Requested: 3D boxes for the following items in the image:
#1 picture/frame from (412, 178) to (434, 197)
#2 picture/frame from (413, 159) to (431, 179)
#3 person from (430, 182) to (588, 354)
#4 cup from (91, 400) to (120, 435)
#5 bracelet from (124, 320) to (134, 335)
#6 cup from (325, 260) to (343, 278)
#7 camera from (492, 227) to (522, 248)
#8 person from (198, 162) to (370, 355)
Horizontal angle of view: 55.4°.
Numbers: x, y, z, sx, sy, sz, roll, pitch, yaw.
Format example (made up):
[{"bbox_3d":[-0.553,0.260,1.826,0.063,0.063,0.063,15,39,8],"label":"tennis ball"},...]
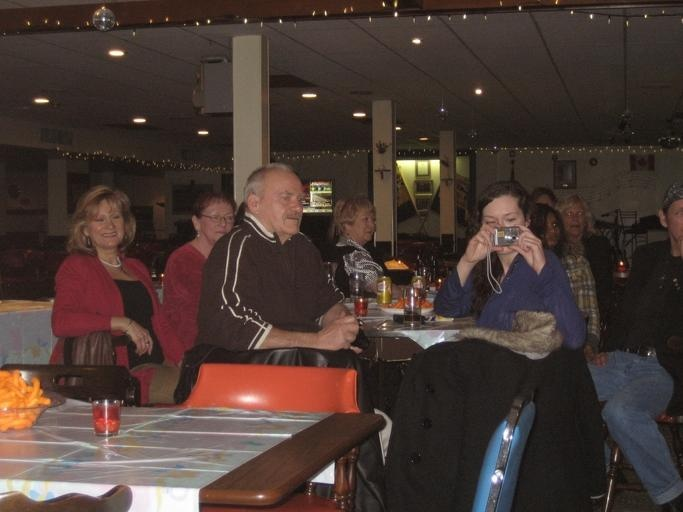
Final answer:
[{"bbox_3d":[2.104,-1.704,16.500,0.656,0.585,0.363,1,-1,4],"label":"picture/frame"},{"bbox_3d":[2.144,-2.241,16.527,0.502,0.522,0.384,6,12,15],"label":"picture/frame"},{"bbox_3d":[0.720,0.002,2.852,0.380,0.682,0.965,0,1,-7],"label":"person"},{"bbox_3d":[-0.702,0.489,1.953,0.120,0.095,0.118,-3,-9,0],"label":"cup"},{"bbox_3d":[-1.064,0.369,3.358,0.063,0.063,0.062,-2,-6,9],"label":"bracelet"},{"bbox_3d":[-0.065,0.081,4.154,0.094,0.104,0.091,0,4,0],"label":"cup"},{"bbox_3d":[0.706,-0.102,2.789,0.126,0.089,0.075,1,6,23],"label":"camera"},{"bbox_3d":[-0.259,-0.020,2.884,0.714,0.828,0.602,-1,1,-20],"label":"person"}]
